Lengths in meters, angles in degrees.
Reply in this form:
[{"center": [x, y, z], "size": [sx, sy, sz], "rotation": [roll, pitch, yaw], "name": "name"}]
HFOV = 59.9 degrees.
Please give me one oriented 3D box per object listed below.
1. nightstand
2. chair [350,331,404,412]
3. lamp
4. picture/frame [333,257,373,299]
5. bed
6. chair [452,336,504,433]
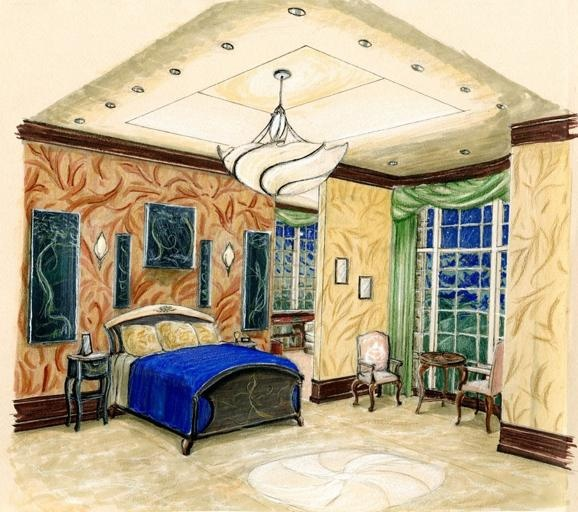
[{"center": [-2.408, 1.599, 5.990], "size": [0.526, 0.876, 0.499], "rotation": [0, 2, -40], "name": "nightstand"}, {"center": [1.299, 1.654, 7.238], "size": [0.698, 0.996, 0.571], "rotation": [1, 1, -39], "name": "chair"}, {"center": [-0.150, -0.956, 4.758], "size": [1.138, 1.110, 1.170], "rotation": [6, 4, 41], "name": "lamp"}, {"center": [0.955, 0.350, 7.699], "size": [0.665, 0.459, 0.042], "rotation": [5, -5, -43], "name": "picture/frame"}, {"center": [-1.049, 1.374, 6.204], "size": [1.927, 1.380, 1.578], "rotation": [3, 2, 42], "name": "bed"}, {"center": [2.472, 1.614, 6.533], "size": [0.521, 1.192, 1.128], "rotation": [2, 2, 21], "name": "chair"}]
